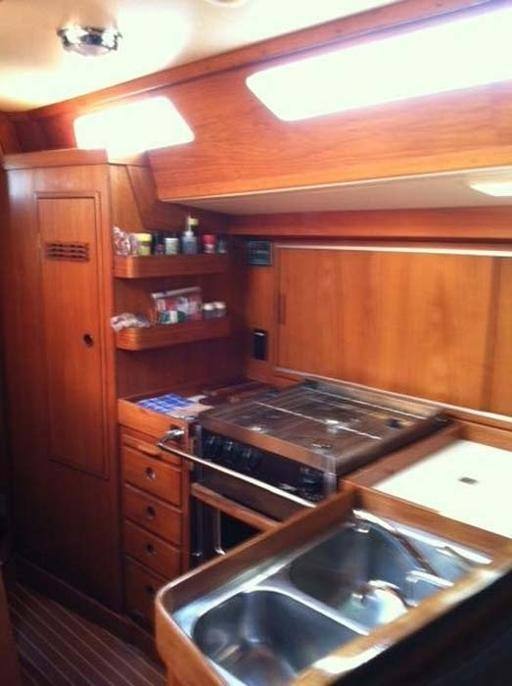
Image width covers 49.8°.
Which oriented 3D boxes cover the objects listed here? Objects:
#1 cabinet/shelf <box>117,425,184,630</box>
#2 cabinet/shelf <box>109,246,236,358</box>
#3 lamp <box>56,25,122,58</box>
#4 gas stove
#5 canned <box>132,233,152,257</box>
[{"bbox_3d":[-0.425,0.769,2.208,0.119,0.813,0.465,-15,19,-40],"label":"cabinet/shelf"},{"bbox_3d":[-0.376,-0.186,2.343,0.163,0.310,0.494,13,18,36],"label":"cabinet/shelf"},{"bbox_3d":[-0.475,-0.870,1.575,0.173,0.052,0.185,-6,14,-16],"label":"lamp"},{"bbox_3d":[0.221,0.293,1.975,0.684,0.162,0.701,-15,19,-43],"label":"gas stove"},{"bbox_3d":[-0.456,-0.403,2.231,0.099,0.100,0.096,-8,18,-31],"label":"canned"}]
